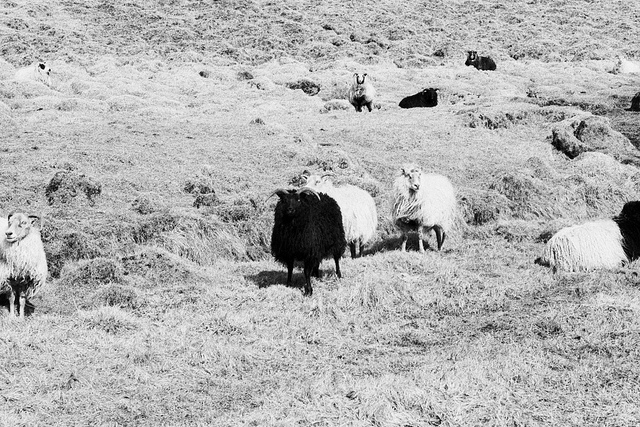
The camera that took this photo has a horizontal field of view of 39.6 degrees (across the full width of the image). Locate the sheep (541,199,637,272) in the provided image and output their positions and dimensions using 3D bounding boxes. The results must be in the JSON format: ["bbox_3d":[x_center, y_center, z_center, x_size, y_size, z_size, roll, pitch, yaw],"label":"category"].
[{"bbox_3d":[7.694,0.766,24.756,2.263,1.233,1.596,-22,10,-10],"label":"sheep"}]

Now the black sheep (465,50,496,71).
[{"bbox_3d":[7.465,-7.048,41.076,1.391,0.642,0.670,8,26,10],"label":"black sheep"}]

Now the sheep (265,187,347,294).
[{"bbox_3d":[-0.367,0.659,25.171,1.879,2.889,3.208,4,5,25],"label":"sheep"}]

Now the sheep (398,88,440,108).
[{"bbox_3d":[4.083,-4.609,35.680,1.622,0.694,0.642,-7,27,-20],"label":"sheep"}]

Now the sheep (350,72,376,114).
[{"bbox_3d":[1.593,-4.746,35.691,0.907,1.469,1.906,3,1,-1],"label":"sheep"}]
